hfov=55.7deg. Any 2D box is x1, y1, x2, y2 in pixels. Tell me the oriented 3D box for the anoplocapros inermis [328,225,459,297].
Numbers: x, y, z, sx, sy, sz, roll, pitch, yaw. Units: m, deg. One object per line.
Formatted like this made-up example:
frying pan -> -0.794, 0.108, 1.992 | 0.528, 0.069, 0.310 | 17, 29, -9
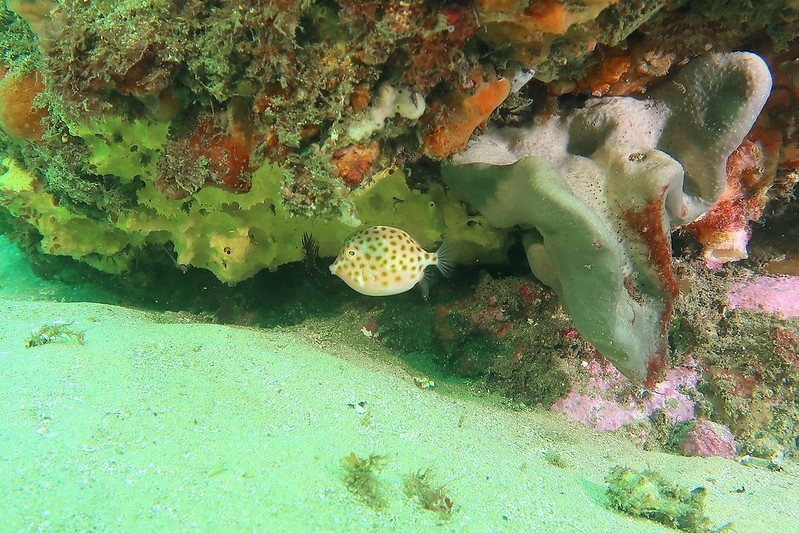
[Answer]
anoplocapros inermis -> -0.087, -0.033, 6.379 | 1.002, 0.598, 0.631 | -1, 10, -12
